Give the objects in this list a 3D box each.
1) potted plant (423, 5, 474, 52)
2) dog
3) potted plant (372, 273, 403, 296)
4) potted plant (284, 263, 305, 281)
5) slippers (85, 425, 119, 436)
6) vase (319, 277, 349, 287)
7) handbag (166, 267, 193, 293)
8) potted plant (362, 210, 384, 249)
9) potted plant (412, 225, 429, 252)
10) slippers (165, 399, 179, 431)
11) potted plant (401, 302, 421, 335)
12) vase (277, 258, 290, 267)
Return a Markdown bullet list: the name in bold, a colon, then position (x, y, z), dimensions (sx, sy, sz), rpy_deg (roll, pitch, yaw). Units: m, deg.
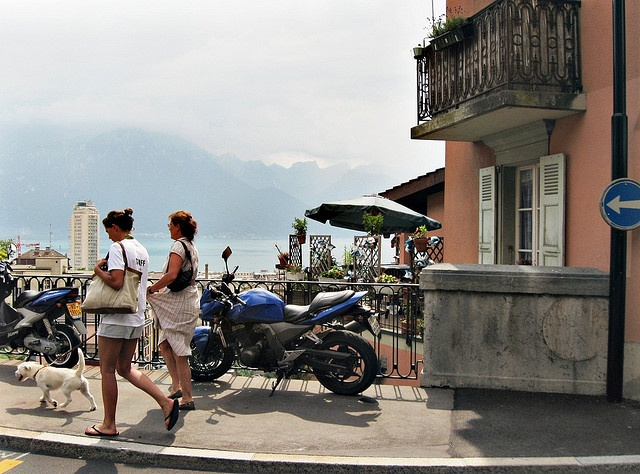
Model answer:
- **potted plant**: position (2.579, -4.170, 14.216), dimensions (0.406, 0.568, 1.064), rpy_deg (2, -2, -21)
- **dog**: position (-3.618, 1.908, 9.895), dimensions (1.132, 0.801, 0.439), rpy_deg (1, 1, 16)
- **potted plant**: position (1.464, 0.947, 16.252), dimensions (0.635, 0.380, 0.879), rpy_deg (3, 16, 3)
- **potted plant**: position (-0.704, 0.930, 20.865), dimensions (0.436, 0.440, 0.441), rpy_deg (8, -2, -36)
- **slippers**: position (-2.714, 2.425, 9.014), dimensions (0.290, 0.077, 0.161), rpy_deg (10, -12, -6)
- **vase**: position (0.271, 0.872, 14.938), dimensions (0.485, 0.211, 0.491), rpy_deg (2, -2, -15)
- **handbag**: position (-1.860, 0.551, 9.785), dimensions (0.336, 0.366, 0.254), rpy_deg (-20, -26, 24)
- **potted plant**: position (1.388, -0.290, 19.007), dimensions (0.654, 0.896, 0.736), rpy_deg (2, -5, 4)
- **potted plant**: position (2.447, -0.036, 17.637), dimensions (0.368, 0.650, 1.356), rpy_deg (1, -2, 8)
- **slippers**: position (-1.840, 2.217, 9.047), dimensions (0.113, 0.403, 0.148), rpy_deg (6, 13, 13)
- **potted plant**: position (1.727, 1.555, 14.216), dimensions (0.266, 0.451, 0.305), rpy_deg (1, -4, 13)
- **vase**: position (-1.148, 0.703, 22.647), dimensions (0.296, 0.240, 0.301), rpy_deg (6, -9, -44)
